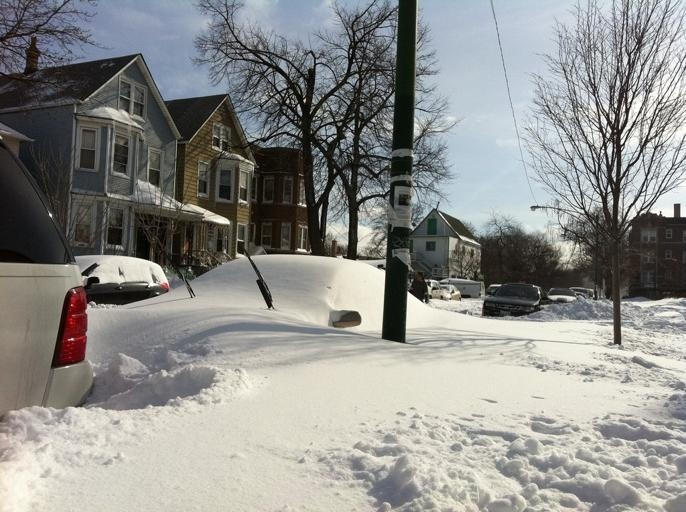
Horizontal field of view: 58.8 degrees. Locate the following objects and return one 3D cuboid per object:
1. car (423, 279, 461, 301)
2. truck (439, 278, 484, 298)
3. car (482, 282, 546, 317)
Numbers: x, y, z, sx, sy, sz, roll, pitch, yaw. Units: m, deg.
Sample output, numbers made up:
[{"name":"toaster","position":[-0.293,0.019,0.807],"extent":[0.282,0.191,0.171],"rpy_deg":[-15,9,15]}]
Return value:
[{"name":"car","position":[6.559,2.346,40.231],"extent":[1.917,1.731,4.529],"rpy_deg":[1,1,29]},{"name":"truck","position":[10.038,2.616,49.926],"extent":[3.463,1.216,2.116],"rpy_deg":[9,-3,-28]},{"name":"car","position":[5.286,1.481,18.900],"extent":[1.667,0.745,2.817],"rpy_deg":[7,10,22]}]
